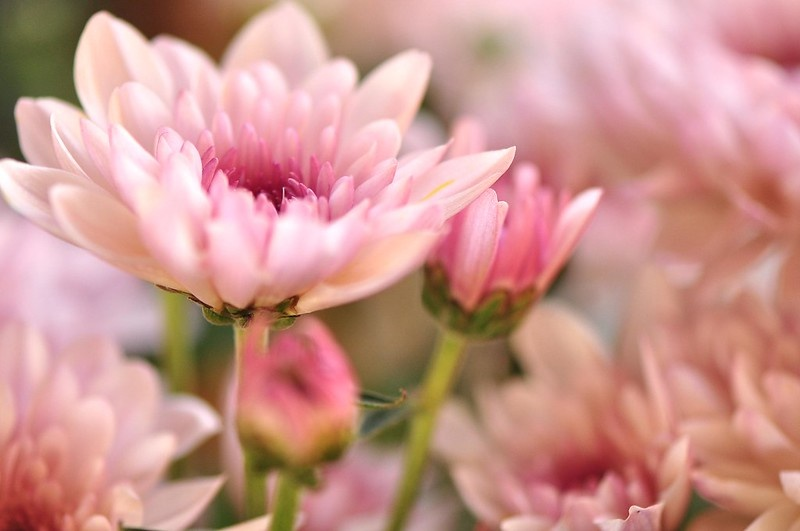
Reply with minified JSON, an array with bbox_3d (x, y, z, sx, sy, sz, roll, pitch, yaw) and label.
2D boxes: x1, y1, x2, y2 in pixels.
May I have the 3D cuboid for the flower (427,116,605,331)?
[{"bbox_3d":[0.052,-0.009,0.490,0.097,0.083,0.106,31,14,11],"label":"flower"}]
